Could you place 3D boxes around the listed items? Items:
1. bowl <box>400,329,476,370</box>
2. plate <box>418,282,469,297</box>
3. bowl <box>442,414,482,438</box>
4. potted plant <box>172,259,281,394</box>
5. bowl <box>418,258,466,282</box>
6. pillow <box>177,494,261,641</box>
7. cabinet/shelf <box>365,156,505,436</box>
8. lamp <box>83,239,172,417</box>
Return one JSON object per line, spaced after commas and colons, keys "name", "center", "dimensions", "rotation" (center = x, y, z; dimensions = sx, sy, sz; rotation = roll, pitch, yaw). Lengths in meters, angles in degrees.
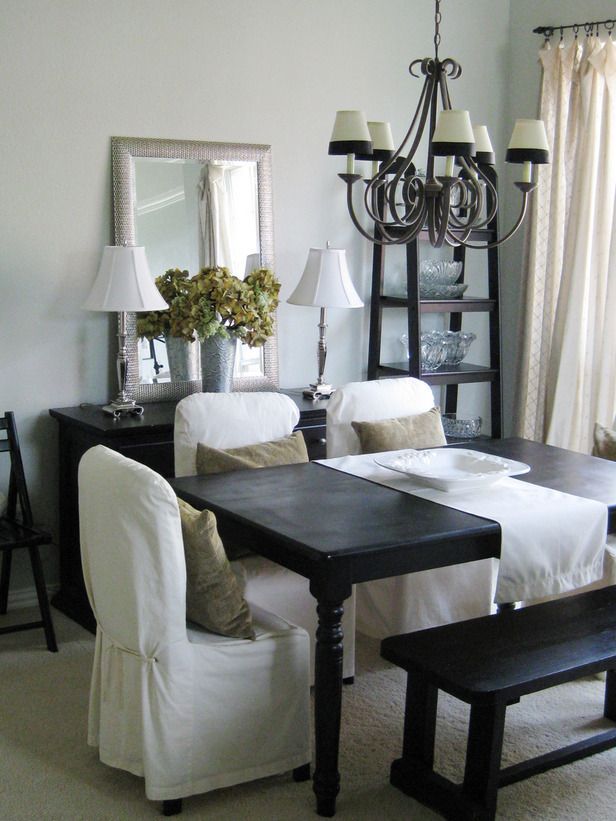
{"name": "bowl", "center": [0.678, -0.302, 3.744], "dimensions": [0.422, 0.207, 0.161], "rotation": [-2, 5, -42]}
{"name": "plate", "center": [0.691, -0.604, 3.728], "dimensions": [0.322, 0.087, 0.124], "rotation": [-2, 4, -39]}
{"name": "bowl", "center": [0.781, 0.090, 3.754], "dimensions": [0.119, 0.071, 0.157], "rotation": [3, -6, -7]}
{"name": "potted plant", "center": [-0.350, -0.342, 3.093], "dimensions": [0.457, 0.522, 0.204], "rotation": [0, 4, -5]}
{"name": "bowl", "center": [0.664, -0.709, 3.700], "dimensions": [0.218, 0.118, 0.223], "rotation": [0, -1, 0]}
{"name": "pillow", "center": [-0.208, 0.357, 1.675], "dimensions": [0.139, 0.242, 0.285], "rotation": [-3, 8, -25]}
{"name": "cabinet/shelf", "center": [0.776, -0.446, 3.858], "dimensions": [0.454, 1.419, 0.411], "rotation": [0, 8, 14]}
{"name": "lamp", "center": [-0.712, -0.329, 2.903], "dimensions": [0.298, 0.699, 0.390], "rotation": [0, 4, -11]}
